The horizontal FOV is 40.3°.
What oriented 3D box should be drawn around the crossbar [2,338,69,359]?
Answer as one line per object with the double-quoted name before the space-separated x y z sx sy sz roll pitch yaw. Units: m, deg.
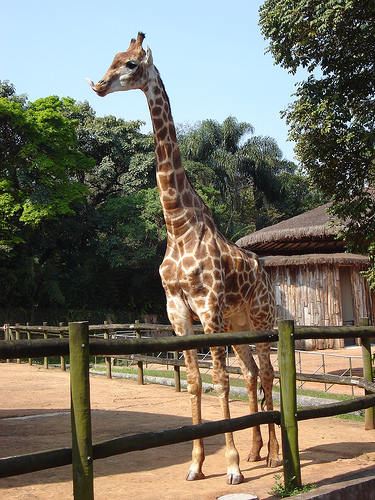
"crossbar" -0.525 0.329 1.756 0.049 0.065 0.339 -14 -12 29
